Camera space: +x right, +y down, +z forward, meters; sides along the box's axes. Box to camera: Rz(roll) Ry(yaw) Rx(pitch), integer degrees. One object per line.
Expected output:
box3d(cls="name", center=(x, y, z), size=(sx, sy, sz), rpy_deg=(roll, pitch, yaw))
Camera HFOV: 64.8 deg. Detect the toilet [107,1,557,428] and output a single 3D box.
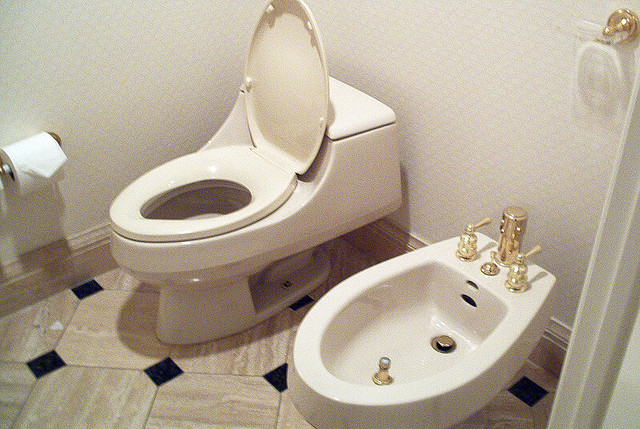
box3d(cls="toilet", center=(0.044, 0.003, 1.416), size=(0.633, 0.755, 0.865), rpy_deg=(-30, 53, -31))
